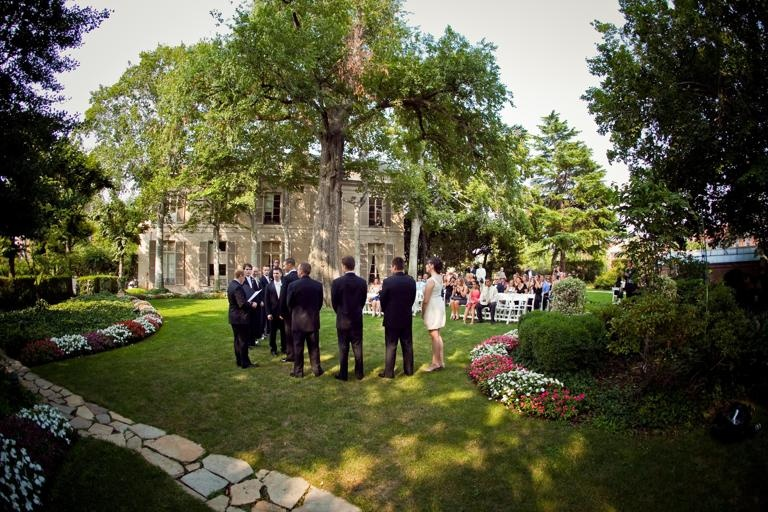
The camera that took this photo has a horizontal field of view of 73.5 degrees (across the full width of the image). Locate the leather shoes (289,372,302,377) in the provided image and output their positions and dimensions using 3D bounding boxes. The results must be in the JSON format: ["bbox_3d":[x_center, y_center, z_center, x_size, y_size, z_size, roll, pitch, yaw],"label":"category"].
[{"bbox_3d":[-1.990,2.711,11.801,0.183,0.066,0.145,-1,-3,12],"label":"leather shoes"}]

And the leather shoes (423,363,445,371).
[{"bbox_3d":[1.202,2.676,12.383,0.508,0.239,0.176,4,-1,1],"label":"leather shoes"}]

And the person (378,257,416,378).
[{"bbox_3d":[0.305,1.403,12.007,0.785,2.782,0.824,0,-4,0],"label":"person"}]

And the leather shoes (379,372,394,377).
[{"bbox_3d":[0.049,2.724,11.877,0.352,0.145,0.123,2,-7,41],"label":"leather shoes"}]

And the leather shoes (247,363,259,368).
[{"bbox_3d":[-3.149,2.621,12.370,0.243,0.116,0.091,-1,2,-9],"label":"leather shoes"}]

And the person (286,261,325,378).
[{"bbox_3d":[-1.834,1.464,11.957,0.853,2.599,0.722,1,-4,-9],"label":"person"}]

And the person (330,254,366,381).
[{"bbox_3d":[-0.819,1.415,11.955,0.750,2.803,0.953,1,-4,-4],"label":"person"}]

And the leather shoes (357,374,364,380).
[{"bbox_3d":[-0.538,2.730,11.707,0.117,0.120,0.113,1,-3,5],"label":"leather shoes"}]
